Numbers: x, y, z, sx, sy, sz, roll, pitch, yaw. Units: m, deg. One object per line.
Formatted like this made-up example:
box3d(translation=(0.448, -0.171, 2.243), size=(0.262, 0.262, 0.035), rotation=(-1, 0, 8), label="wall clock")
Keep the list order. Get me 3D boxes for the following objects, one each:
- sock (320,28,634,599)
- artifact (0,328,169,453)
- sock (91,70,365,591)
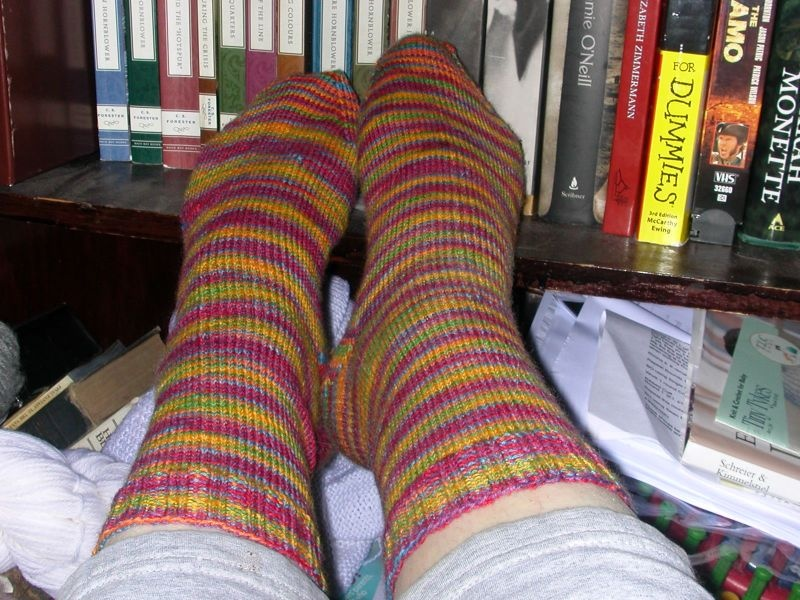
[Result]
box3d(translation=(0.063, -0.049, 0.719), size=(0.213, 0.642, 0.260), rotation=(-4, -14, 8), label="sock")
box3d(translation=(-0.422, 0.135, 0.922), size=(0.069, 0.194, 0.186), rotation=(47, 48, 14), label="artifact")
box3d(translation=(-0.150, -0.020, 0.795), size=(0.174, 0.168, 0.625), rotation=(-1, 52, 13), label="sock")
